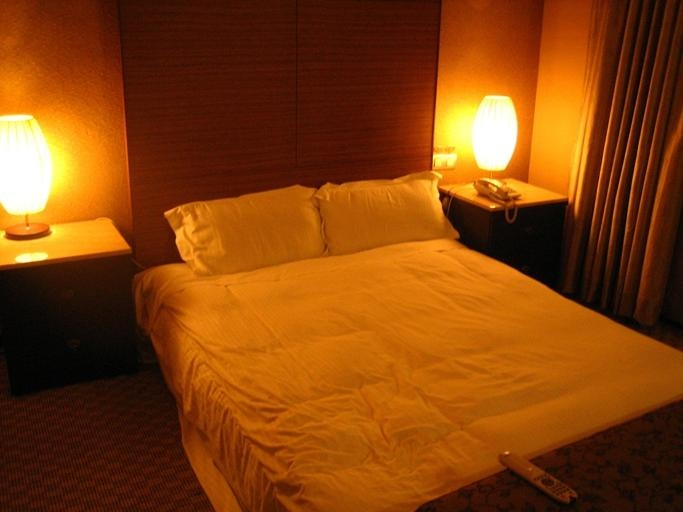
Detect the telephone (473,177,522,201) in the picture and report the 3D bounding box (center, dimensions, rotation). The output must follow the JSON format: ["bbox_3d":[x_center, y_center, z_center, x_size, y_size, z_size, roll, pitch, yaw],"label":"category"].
[{"bbox_3d":[1.030,-0.450,3.633,0.166,0.087,0.259,-11,27,-29],"label":"telephone"}]

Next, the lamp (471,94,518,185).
[{"bbox_3d":[1.040,-0.800,3.741,0.252,0.578,0.265,-4,22,-16],"label":"lamp"}]

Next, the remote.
[{"bbox_3d":[0.610,0.687,1.701,0.082,0.037,0.255,-20,24,-35],"label":"remote"}]

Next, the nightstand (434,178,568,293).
[{"bbox_3d":[1.143,-0.215,3.907,0.866,0.862,0.636,-10,21,-25],"label":"nightstand"}]
